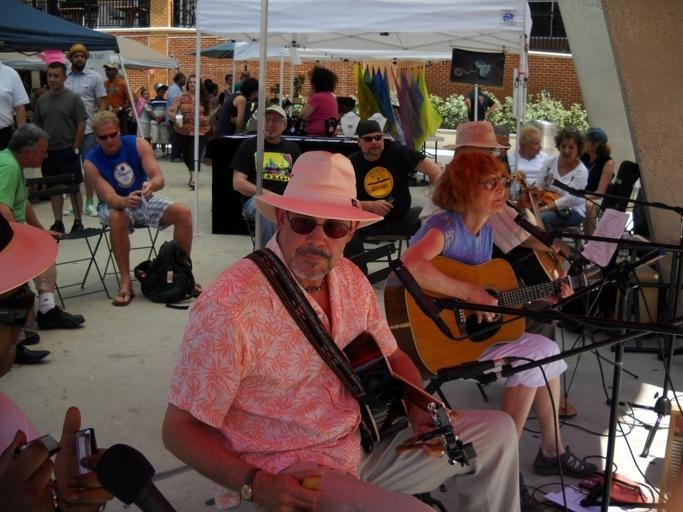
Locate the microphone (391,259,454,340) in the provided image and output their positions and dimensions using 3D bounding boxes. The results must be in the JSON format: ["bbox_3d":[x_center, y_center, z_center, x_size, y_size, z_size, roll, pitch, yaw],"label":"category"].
[{"bbox_3d":[0.449,0.226,3.129,0.096,0.526,0.088,-36,-2,24],"label":"microphone"}]

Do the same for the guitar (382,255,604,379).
[{"bbox_3d":[1.105,0.273,3.843,1.504,0.763,0.211,-8,-6,-21],"label":"guitar"}]

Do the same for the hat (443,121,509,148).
[{"bbox_3d":[1.126,-1.050,4.979,0.487,0.259,0.308,11,15,32],"label":"hat"}]

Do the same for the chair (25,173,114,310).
[{"bbox_3d":[-2.661,-0.134,5.806,0.844,1.632,0.773,1,20,-12],"label":"chair"}]

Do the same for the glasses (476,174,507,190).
[{"bbox_3d":[0.907,-0.433,3.460,0.116,0.038,0.118,-12,0,-30],"label":"glasses"}]

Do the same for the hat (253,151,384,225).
[{"bbox_3d":[-0.093,-0.284,2.445,0.498,0.283,0.569,4,1,-8],"label":"hat"}]

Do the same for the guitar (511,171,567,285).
[{"bbox_3d":[1.389,-0.114,4.222,0.419,0.974,0.405,6,12,11],"label":"guitar"}]
